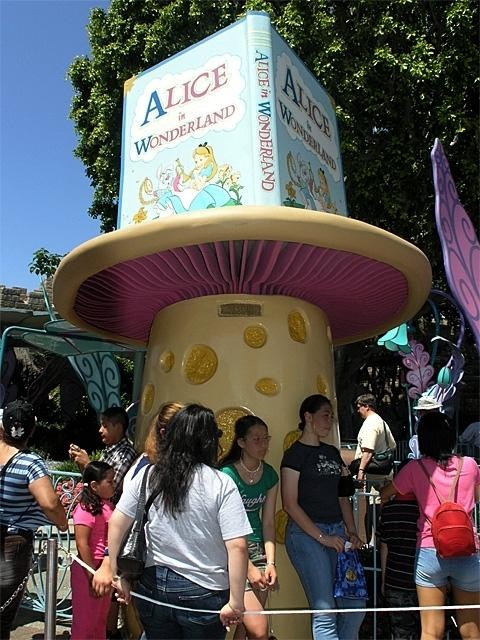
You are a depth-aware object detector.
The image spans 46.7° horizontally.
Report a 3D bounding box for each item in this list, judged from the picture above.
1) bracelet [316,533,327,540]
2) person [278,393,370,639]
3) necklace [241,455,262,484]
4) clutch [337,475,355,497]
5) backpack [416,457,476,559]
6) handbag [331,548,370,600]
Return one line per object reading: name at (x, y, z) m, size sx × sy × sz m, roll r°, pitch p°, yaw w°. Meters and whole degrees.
bracelet at (0.466, 1.224, 3.138) m, size 0.027 × 0.034 × 0.009 m, roll 2°, pitch -54°, yaw -15°
person at (0.480, 1.169, 3.295) m, size 0.446 × 1.460 × 0.620 m, roll -3°, pitch -14°, yaw 8°
necklace at (0.064, 0.838, 3.086) m, size 0.101 × 0.133 × 0.049 m, roll 2°, pitch -9°, yaw -18°
clutch at (0.643, 1.022, 3.394) m, size 0.117 × 0.113 × 0.122 m, roll 2°, pitch -12°, yaw -6°
backpack at (1.152, 1.052, 3.096) m, size 0.269 × 0.534 × 0.260 m, roll -5°, pitch -14°, yaw 15°
handbag at (0.639, 1.499, 3.274) m, size 0.184 × 0.296 × 0.246 m, roll -4°, pitch -14°, yaw 8°
